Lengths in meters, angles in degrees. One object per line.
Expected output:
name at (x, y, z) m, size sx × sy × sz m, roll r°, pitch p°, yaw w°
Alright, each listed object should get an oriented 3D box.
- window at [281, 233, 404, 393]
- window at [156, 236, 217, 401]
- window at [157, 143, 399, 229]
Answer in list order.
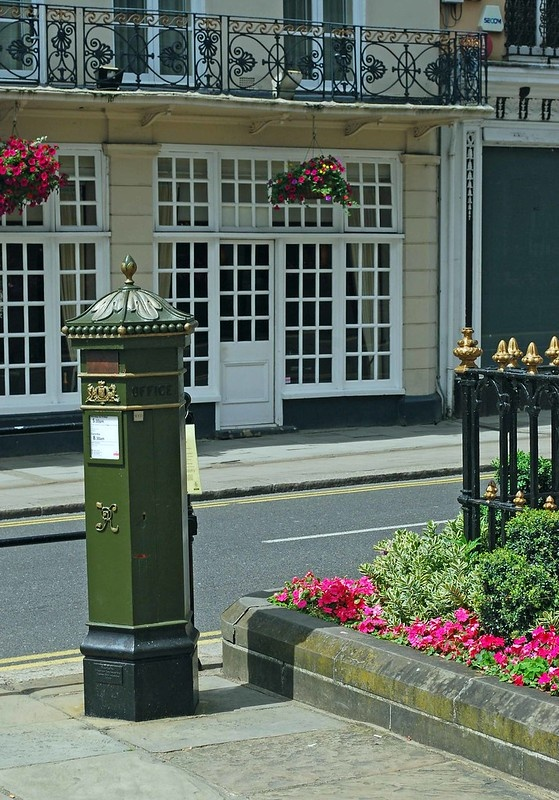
window at (0.683, -1.081, 20.226) m, size 1.536 × 1.959 × 0.091 m, roll -9°, pitch 15°, yaw -31°
window at (-1.078, -0.908, 19.301) m, size 0.645 × 1.815 × 0.094 m, roll 2°, pitch 11°, yaw 18°
window at (-0.051, -2.370, 19.608) m, size 3.158 × 1.120 × 0.201 m, roll -8°, pitch 6°, yaw -32°
